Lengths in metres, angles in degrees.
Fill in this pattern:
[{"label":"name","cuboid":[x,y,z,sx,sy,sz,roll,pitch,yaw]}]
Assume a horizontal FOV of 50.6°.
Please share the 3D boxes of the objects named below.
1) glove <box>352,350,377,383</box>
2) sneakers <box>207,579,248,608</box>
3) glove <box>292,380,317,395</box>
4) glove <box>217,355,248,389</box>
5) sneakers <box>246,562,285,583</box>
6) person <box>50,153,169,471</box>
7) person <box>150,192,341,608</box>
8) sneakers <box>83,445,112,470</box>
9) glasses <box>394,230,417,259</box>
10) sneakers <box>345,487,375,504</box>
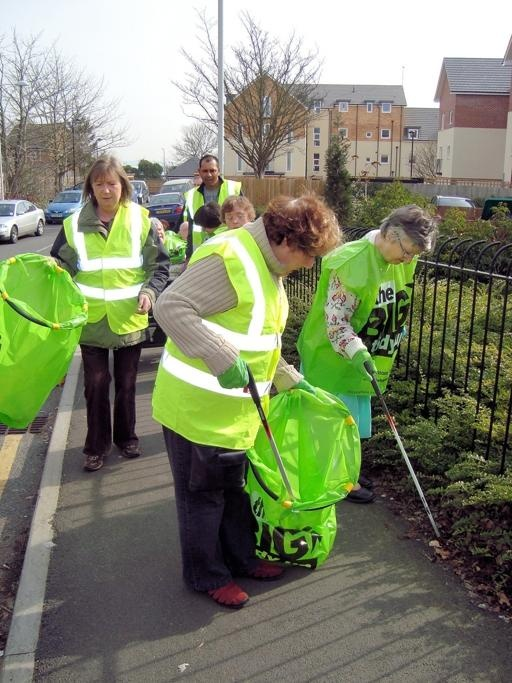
[{"label":"glove","cuboid":[0.559,0.131,2.786,0.056,0.111,0.152,-31,-31,-2]},{"label":"sneakers","cuboid":[-0.113,1.107,2.396,0.205,0.083,0.075,-2,2,28]},{"label":"glove","cuboid":[0.240,0.225,2.629,0.079,0.022,0.066,31,-19,-27]},{"label":"glove","cuboid":[-0.077,0.101,1.764,0.055,0.075,0.102,30,8,33]},{"label":"sneakers","cuboid":[0.049,1.106,2.603,0.206,0.085,0.069,-2,41,-13]},{"label":"person","cuboid":[-1.027,-0.166,3.892,0.787,2.187,0.601,-4,9,-30]},{"label":"person","cuboid":[-0.068,0.327,2.144,0.659,1.737,0.711,-2,8,-13]},{"label":"sneakers","cuboid":[-1.173,0.856,3.967,0.091,0.097,0.242,3,4,-2]},{"label":"glasses","cuboid":[0.769,-0.489,2.757,0.108,0.105,0.063,2,-15,-21]},{"label":"sneakers","cuboid":[0.682,0.990,3.497,0.144,0.051,0.097,1,9,26]}]
